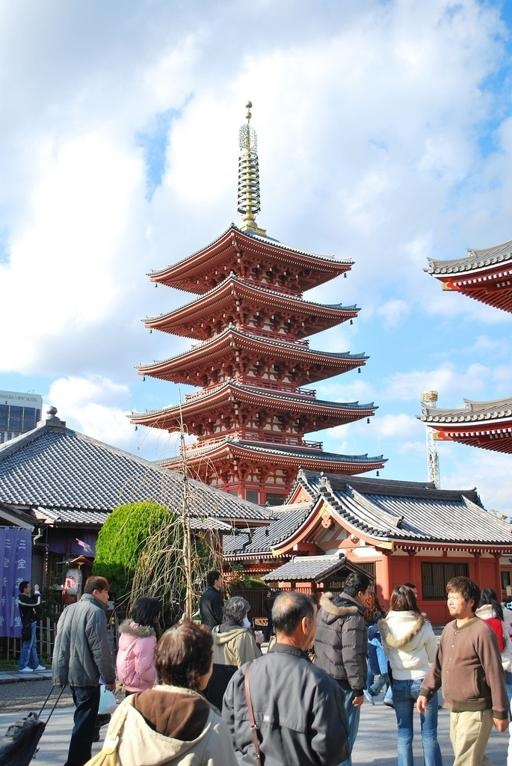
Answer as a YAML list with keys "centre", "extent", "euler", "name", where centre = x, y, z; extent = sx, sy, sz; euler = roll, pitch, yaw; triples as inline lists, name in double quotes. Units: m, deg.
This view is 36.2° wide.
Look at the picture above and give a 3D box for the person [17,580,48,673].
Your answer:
- centre: [-3.519, 3.816, 12.341]
  extent: [0.396, 1.432, 1.008]
  euler: [-1, -10, -15]
  name: "person"
